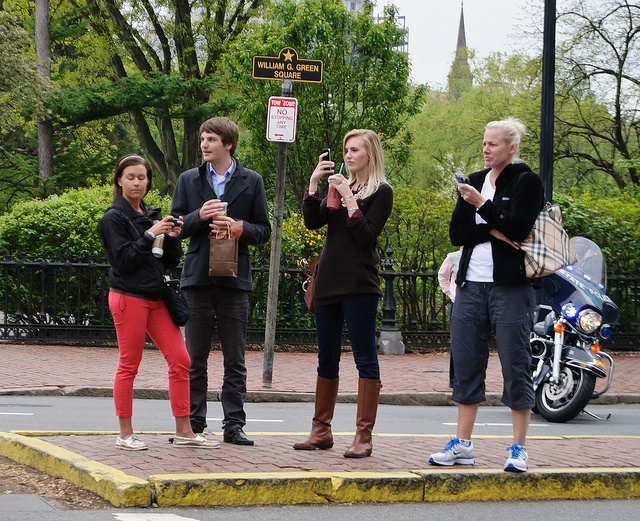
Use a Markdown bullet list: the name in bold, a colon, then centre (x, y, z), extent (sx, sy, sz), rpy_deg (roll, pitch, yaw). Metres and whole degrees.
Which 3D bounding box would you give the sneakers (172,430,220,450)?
- **sneakers**: centre (-1.028, 1.487, 6.372), extent (0.368, 0.151, 0.142), rpy_deg (0, -1, -6)

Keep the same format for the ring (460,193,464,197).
- **ring**: centre (1.113, -0.529, 6.227), extent (0.023, 0.011, 0.024), rpy_deg (2, -31, 1)

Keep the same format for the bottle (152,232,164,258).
- **bottle**: centre (-1.310, -0.120, 6.254), extent (0.087, 0.182, 0.099), rpy_deg (3, 0, -13)

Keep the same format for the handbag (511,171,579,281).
- **handbag**: centre (1.781, -0.149, 6.155), extent (0.489, 0.610, 0.245), rpy_deg (3, 0, -44)

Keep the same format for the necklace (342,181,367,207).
- **necklace**: centre (0.283, -0.589, 6.553), extent (0.189, 0.254, 0.105), rpy_deg (-4, -10, 26)

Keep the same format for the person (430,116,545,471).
- **person**: centre (1.331, 0.243, 6.210), extent (0.755, 2.835, 0.412), rpy_deg (3, 0, 17)

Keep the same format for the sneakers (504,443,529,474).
- **sneakers**: centre (1.496, 1.529, 6.037), extent (0.170, 0.217, 0.210), rpy_deg (3, 0, 22)

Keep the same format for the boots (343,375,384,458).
- **boots**: centre (0.324, 1.286, 6.405), extent (0.218, 0.645, 0.417), rpy_deg (3, 0, 41)

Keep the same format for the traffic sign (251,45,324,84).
- **traffic sign**: centre (-0.431, -2.512, 9.886), extent (0.908, 0.472, 0.016), rpy_deg (2, 39, -6)

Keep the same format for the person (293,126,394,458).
- **person**: centre (0.210, 0.243, 6.477), extent (0.620, 2.717, 0.451), rpy_deg (3, 0, 16)

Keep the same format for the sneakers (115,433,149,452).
- **sneakers**: centre (-1.509, 1.449, 6.200), extent (0.253, 0.124, 0.200), rpy_deg (3, 0, -16)

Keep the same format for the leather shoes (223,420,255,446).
- **leather shoes**: centre (-0.706, 1.503, 6.661), extent (0.119, 0.142, 0.304), rpy_deg (2, -4, -41)

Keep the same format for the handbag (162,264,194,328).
- **handbag**: centre (-1.214, 0.361, 6.383), extent (0.299, 0.165, 0.532), rpy_deg (22, 30, -16)

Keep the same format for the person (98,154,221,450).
- **person**: centre (-1.413, 0.318, 6.346), extent (0.854, 2.342, 0.471), rpy_deg (3, 0, -9)

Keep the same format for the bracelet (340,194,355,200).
- **bracelet**: centre (0.205, -0.518, 6.418), extent (0.096, 0.052, 0.186), rpy_deg (3, 0, 0)
